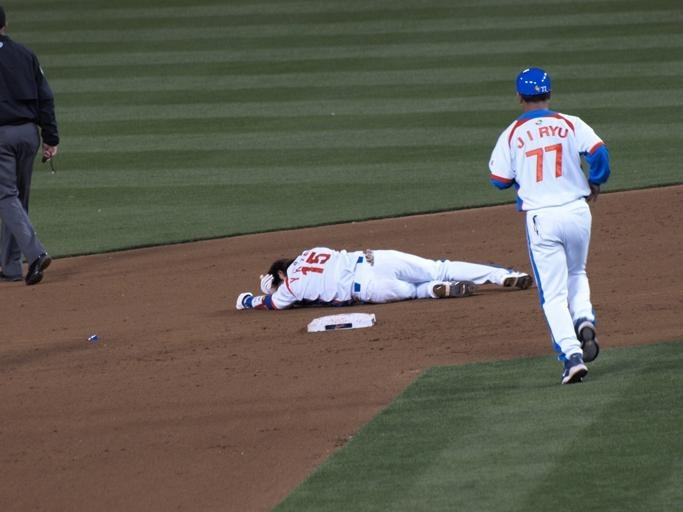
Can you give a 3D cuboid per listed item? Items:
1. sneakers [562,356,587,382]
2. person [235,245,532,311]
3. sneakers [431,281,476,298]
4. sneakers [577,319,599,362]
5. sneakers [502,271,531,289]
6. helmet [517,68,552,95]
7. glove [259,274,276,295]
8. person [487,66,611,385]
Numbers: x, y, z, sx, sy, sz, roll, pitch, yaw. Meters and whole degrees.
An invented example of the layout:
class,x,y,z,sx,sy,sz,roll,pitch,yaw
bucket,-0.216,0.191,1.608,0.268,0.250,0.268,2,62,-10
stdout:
class,x,y,z,sx,sy,sz,roll,pitch,yaw
sneakers,2.007,0.986,11.647,0.231,0.265,0.278,-6,8,9
person,0.449,0.254,13.633,2.107,0.387,1.057,-3,3,12
sneakers,1.124,0.335,13.559,0.459,0.160,0.190,-1,10,4
sneakers,2.151,0.754,11.832,0.165,0.385,0.171,-15,13,6
sneakers,1.770,0.261,13.548,0.330,0.133,0.133,8,16,-29
helmet,1.716,-1.535,12.045,0.229,0.151,0.299,0,29,8
glove,-0.774,0.306,13.978,0.163,0.205,0.092,-12,-13,10
person,1.951,-0.290,11.915,0.863,2.702,0.868,-12,9,-24
